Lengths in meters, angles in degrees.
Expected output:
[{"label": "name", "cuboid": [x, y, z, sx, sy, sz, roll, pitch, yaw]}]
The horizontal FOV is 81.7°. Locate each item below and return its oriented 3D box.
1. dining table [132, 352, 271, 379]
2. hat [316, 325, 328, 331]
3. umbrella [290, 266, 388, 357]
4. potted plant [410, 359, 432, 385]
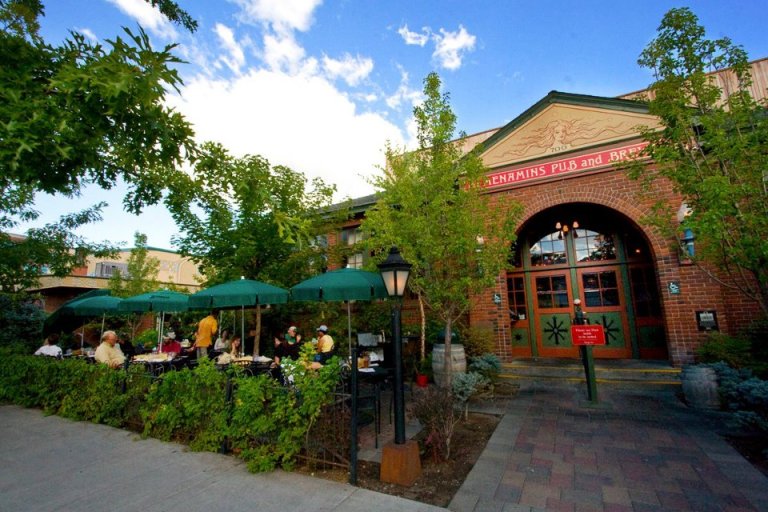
[{"label": "dining table", "cuboid": [-4.849, 2.907, 11.736, 5.187, 0.829, 0.351, -4, -6, 30]}, {"label": "hat", "cuboid": [-1.743, 2.053, 12.607, 0.344, 0.166, 0.465, 7, -5, -27]}, {"label": "umbrella", "cuboid": [-0.974, 1.537, 12.479, 2.269, 2.335, 2.299, -2, -6, 16]}, {"label": "potted plant", "cuboid": [1.135, 3.653, 13.873, 0.584, 0.762, 0.824, -12, -24, 30]}]
